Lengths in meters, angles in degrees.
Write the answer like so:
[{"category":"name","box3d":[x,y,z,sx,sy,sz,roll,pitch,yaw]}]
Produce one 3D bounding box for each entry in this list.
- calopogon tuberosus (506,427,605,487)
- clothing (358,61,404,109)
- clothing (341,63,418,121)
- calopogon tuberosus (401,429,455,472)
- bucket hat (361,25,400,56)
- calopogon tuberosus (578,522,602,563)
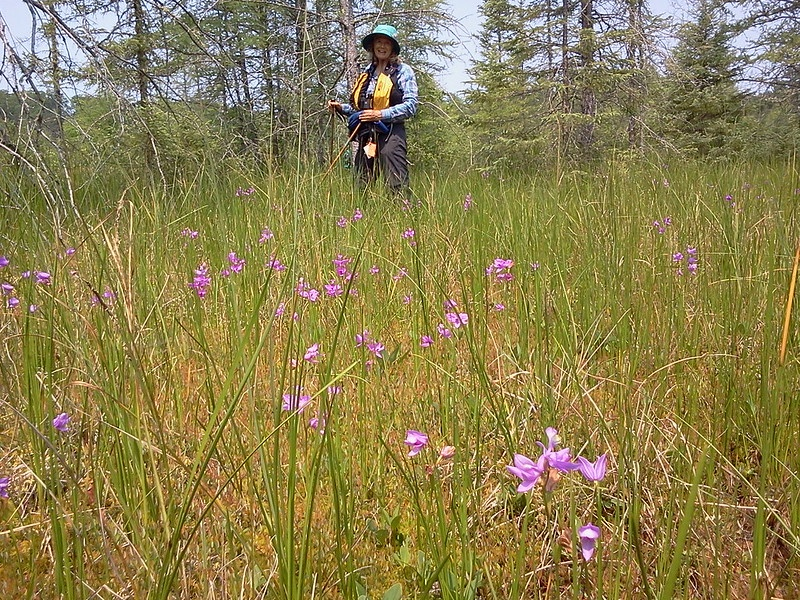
[{"category":"calopogon tuberosus","box3d":[0.517,0.547,2.436,0.251,0.161,0.246,-1,3,-18]},{"category":"clothing","box3d":[-0.220,-1.915,6.588,0.345,0.498,0.238,10,-3,31]},{"category":"clothing","box3d":[-0.131,-1.854,6.559,0.557,0.478,0.672,-13,23,-25]},{"category":"calopogon tuberosus","box3d":[0.115,0.546,2.749,0.237,0.109,0.130,19,-32,-37]},{"category":"bucket hat","box3d":[-0.161,-2.358,6.525,0.345,0.238,0.399,3,5,26]},{"category":"calopogon tuberosus","box3d":[0.617,0.780,2.396,0.064,0.169,0.046,5,2,4]}]
